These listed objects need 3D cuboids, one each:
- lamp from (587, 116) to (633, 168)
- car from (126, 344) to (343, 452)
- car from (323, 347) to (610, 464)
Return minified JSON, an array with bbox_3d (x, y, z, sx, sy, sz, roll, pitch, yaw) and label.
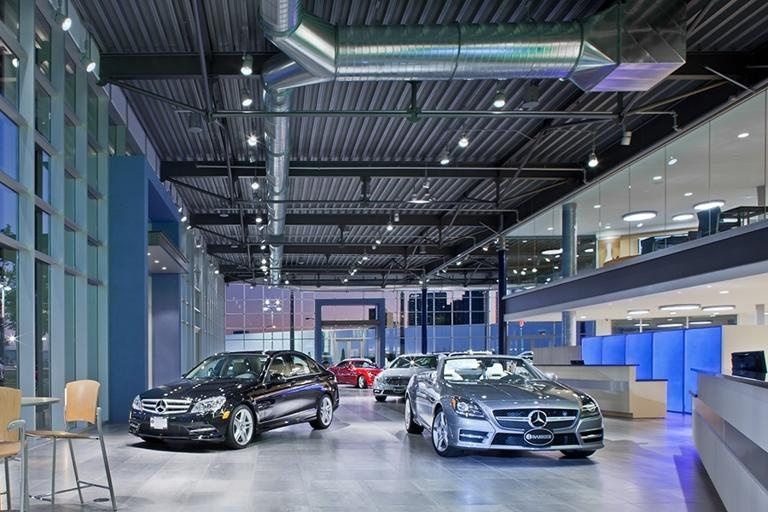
[{"bbox_3d":[6.942,-3.154,16.342,1.238,1.370,3.416,-2,-7,24],"label":"lamp"},{"bbox_3d":[-2.902,2.944,11.331,2.015,1.845,4.379,-3,-7,29],"label":"car"},{"bbox_3d":[1.992,2.684,9.785,2.329,1.637,2.961,1,-6,-13],"label":"car"}]
